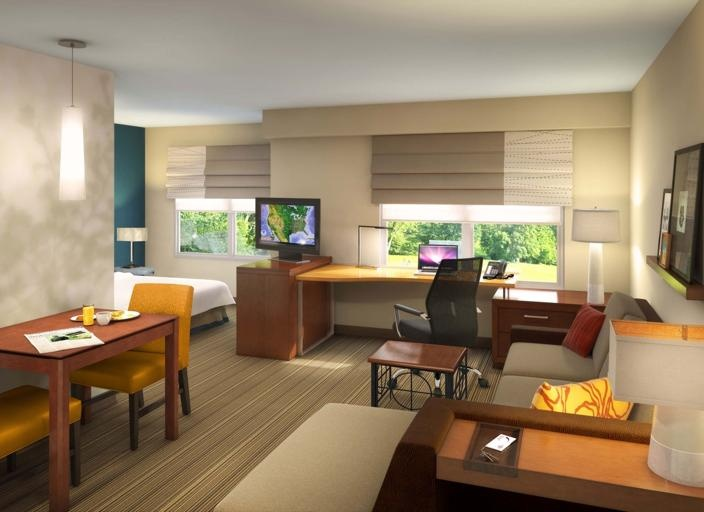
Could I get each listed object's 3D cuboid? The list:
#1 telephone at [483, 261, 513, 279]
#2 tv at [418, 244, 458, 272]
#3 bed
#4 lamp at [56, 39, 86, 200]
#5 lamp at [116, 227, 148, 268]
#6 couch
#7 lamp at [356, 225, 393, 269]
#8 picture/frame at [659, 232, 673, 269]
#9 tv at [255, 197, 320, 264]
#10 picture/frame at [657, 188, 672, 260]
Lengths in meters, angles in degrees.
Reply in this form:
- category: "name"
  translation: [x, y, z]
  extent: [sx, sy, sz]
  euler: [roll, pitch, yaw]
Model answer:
- category: "telephone"
  translation: [1.559, 0.157, 5.266]
  extent: [0.200, 0.110, 0.274]
  euler: [3, 9, 28]
- category: "tv"
  translation: [0.962, -0.003, 5.545]
  extent: [0.479, 0.315, 0.296]
  euler: [1, -1, 15]
- category: "bed"
  translation: [-2.360, 0.504, 6.277]
  extent: [1.408, 0.392, 0.885]
  euler: [2, 4, 15]
- category: "lamp"
  translation: [-2.238, -1.046, 3.875]
  extent: [0.252, 1.223, 0.498]
  euler: [-5, 11, -30]
- category: "lamp"
  translation: [-3.398, -0.136, 7.498]
  extent: [0.484, 0.702, 0.506]
  euler: [20, 20, 40]
- category: "couch"
  translation: [1.598, 0.832, 3.455]
  extent: [0.977, 0.900, 1.337]
  euler: [4, 4, 24]
- category: "lamp"
  translation: [0.440, -0.119, 6.266]
  extent: [0.536, 0.572, 0.440]
  euler: [1, 3, 28]
- category: "picture/frame"
  translation: [2.204, -0.035, 3.407]
  extent: [0.023, 0.219, 0.275]
  euler: [7, 3, 20]
- category: "tv"
  translation: [-0.743, -0.312, 5.645]
  extent: [0.821, 0.665, 0.184]
  euler: [2, 2, 23]
- category: "picture/frame"
  translation: [2.285, -0.224, 3.543]
  extent: [0.023, 0.559, 0.566]
  euler: [1, 3, 25]
